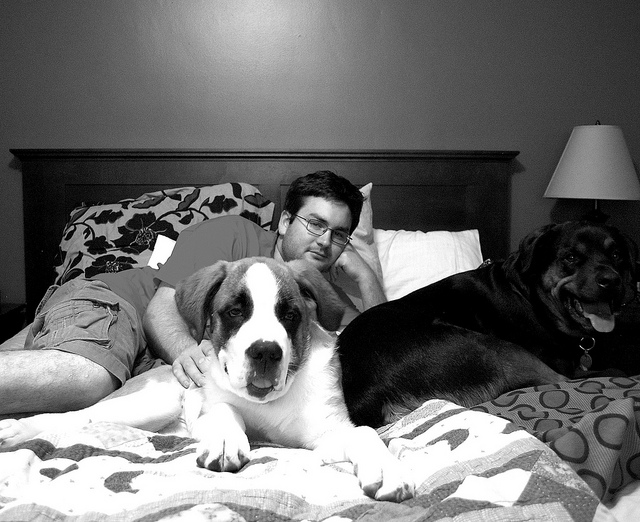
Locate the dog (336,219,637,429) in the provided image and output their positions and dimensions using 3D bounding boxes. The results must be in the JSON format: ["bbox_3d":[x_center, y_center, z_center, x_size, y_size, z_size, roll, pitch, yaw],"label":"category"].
[{"bbox_3d":[0.675,0.248,2.177,1.219,0.621,0.678,-20,-2,-12],"label":"dog"}]

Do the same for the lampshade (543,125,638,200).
[{"bbox_3d":[1.950,-0.706,3.688,0.598,0.527,0.246,7,8,26],"label":"lampshade"}]

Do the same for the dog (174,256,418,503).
[{"bbox_3d":[-0.097,0.315,1.718,0.754,0.781,0.612,-1,10,-6],"label":"dog"}]
